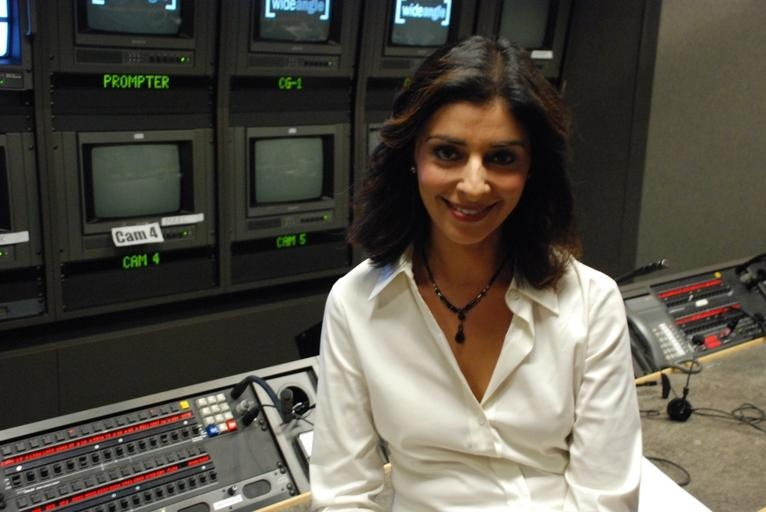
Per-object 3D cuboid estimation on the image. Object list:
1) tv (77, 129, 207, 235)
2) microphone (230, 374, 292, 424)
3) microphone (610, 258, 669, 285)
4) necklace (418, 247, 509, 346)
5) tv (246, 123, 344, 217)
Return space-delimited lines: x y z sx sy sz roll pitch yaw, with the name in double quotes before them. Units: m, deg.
"tv" -1.572 -0.480 3.901 1.013 0.717 0.569 -2 2 3
"microphone" -0.453 0.546 2.152 0.253 0.174 0.109 -5 7 17
"microphone" 1.725 0.098 3.740 0.058 0.080 0.413 16 -32 -34
"necklace" 0.242 0.125 1.603 0.254 0.306 0.034 4 -8 2
"tv" -0.752 -0.694 4.215 0.828 0.626 0.451 -10 22 -33
